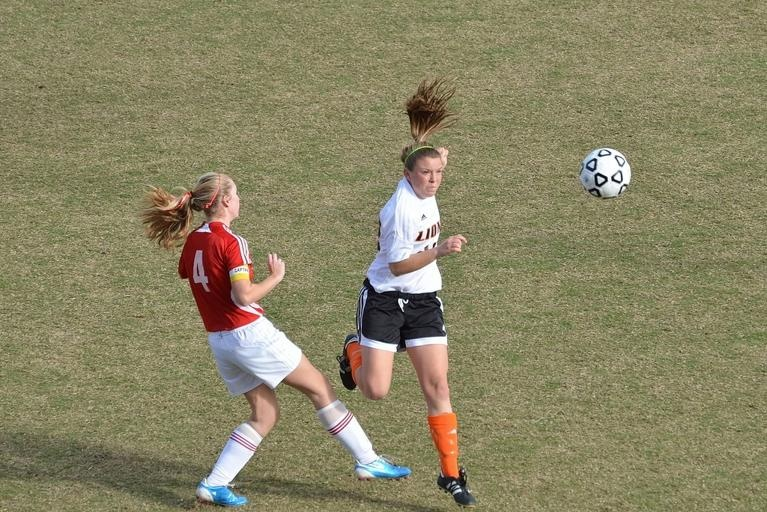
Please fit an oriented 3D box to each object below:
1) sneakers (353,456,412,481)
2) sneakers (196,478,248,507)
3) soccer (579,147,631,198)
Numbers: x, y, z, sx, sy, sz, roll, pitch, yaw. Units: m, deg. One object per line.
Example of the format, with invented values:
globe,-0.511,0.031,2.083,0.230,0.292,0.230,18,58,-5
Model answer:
sneakers,-0.027,2.369,11.742,0.737,0.231,0.228,1,90,-8
sneakers,-1.793,2.560,11.505,0.694,0.219,0.213,10,103,-18
soccer,3.032,-1.170,15.041,0.876,0.742,0.725,6,74,17
